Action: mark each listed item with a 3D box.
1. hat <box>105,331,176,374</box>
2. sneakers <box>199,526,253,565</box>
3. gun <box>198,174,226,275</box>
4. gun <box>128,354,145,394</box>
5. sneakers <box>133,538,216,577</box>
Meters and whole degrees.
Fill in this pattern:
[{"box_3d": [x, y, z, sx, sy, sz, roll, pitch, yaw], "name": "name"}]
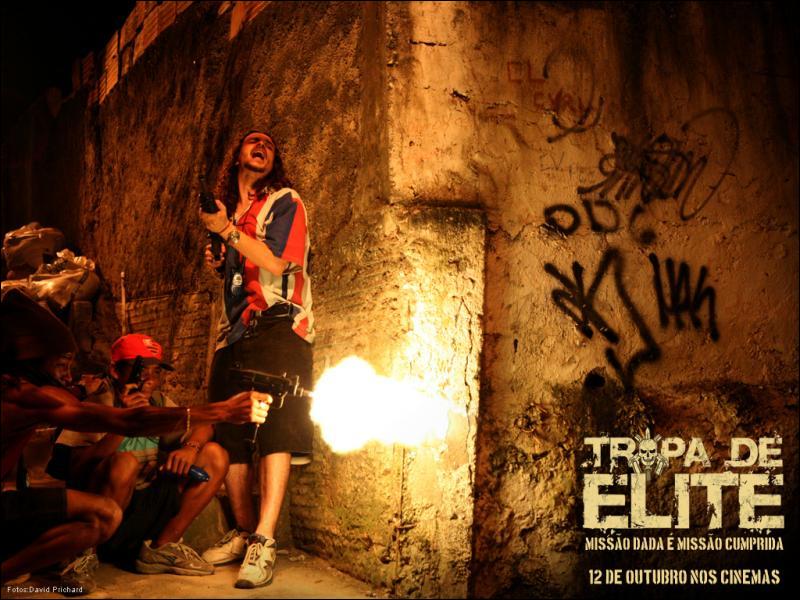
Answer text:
[{"box_3d": [-1.867, 0.366, 6.228, 0.397, 0.253, 0.320, -2, -5, 20], "name": "hat"}, {"box_3d": [-1.191, 1.701, 6.112, 0.173, 0.206, 0.414, 22, 14, 37], "name": "sneakers"}, {"box_3d": [-1.247, -0.538, 5.884, 0.173, 0.378, 0.674, 8, -18, -7], "name": "gun"}, {"box_3d": [-1.815, 0.530, 6.070, 0.094, 0.323, 0.067, 3, 4, -6], "name": "gun"}, {"box_3d": [-1.512, 1.740, 5.975, 0.528, 0.287, 0.219, 5, -13, -5], "name": "sneakers"}]
